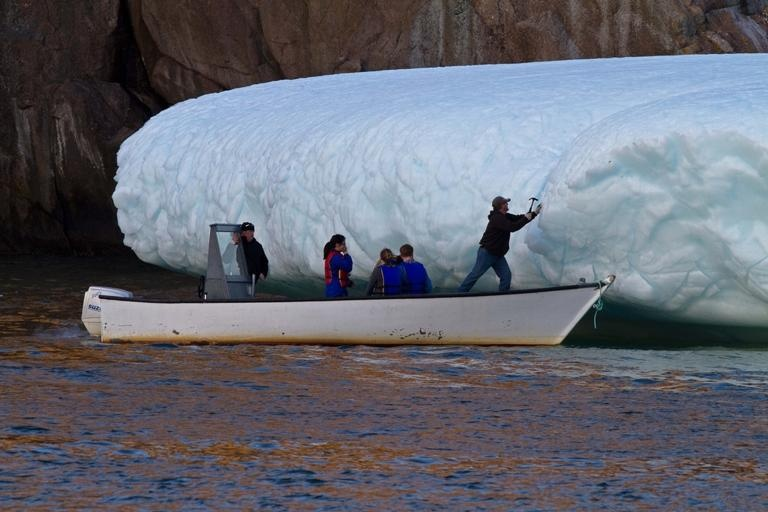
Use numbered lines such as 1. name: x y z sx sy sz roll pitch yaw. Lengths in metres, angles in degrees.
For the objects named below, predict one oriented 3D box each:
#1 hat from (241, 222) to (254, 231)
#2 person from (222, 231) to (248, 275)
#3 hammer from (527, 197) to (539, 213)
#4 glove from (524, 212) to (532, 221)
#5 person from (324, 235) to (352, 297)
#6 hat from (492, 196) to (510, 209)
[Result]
1. hat: -2.223 -0.492 29.802 0.139 0.114 0.190 0 1 -44
2. person: -2.376 -0.047 29.474 0.448 0.655 0.169 0 0 -2
3. hammer: 2.478 -0.837 29.207 0.233 0.239 0.280 0 7 8
4. glove: 2.309 -0.637 28.497 0.130 0.111 0.126 -5 12 -39
5. person: -0.704 0.402 29.379 0.529 1.447 0.483 -2 13 -2
6. hat: 1.902 -0.869 28.815 0.257 0.147 0.175 -32 13 -14
